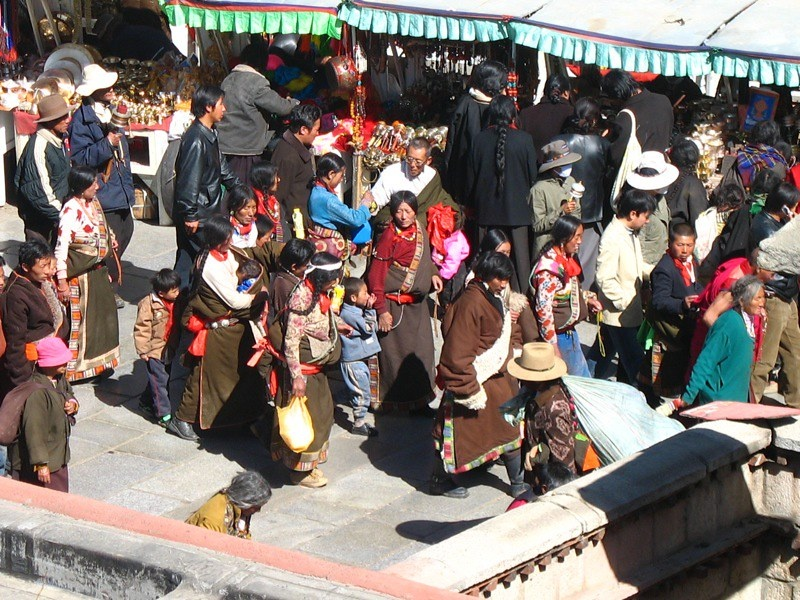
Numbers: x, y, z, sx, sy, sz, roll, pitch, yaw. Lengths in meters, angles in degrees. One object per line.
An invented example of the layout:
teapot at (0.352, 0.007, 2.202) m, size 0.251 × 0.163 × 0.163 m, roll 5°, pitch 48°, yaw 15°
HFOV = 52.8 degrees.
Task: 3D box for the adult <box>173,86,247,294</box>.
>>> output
adult at (-1.851, -1.074, 7.907) m, size 0.796 × 2.562 × 0.825 m, roll 5°, pitch 43°, yaw -5°

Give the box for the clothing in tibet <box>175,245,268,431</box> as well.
clothing in tibet at (-1.519, 0.246, 7.202) m, size 0.558 × 1.489 × 0.738 m, roll -3°, pitch 6°, yaw 19°

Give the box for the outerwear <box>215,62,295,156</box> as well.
outerwear at (-1.772, -2.348, 9.835) m, size 0.949 × 1.054 × 0.836 m, roll -9°, pitch 22°, yaw -38°

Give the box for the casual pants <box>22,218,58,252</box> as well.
casual pants at (-3.445, -0.632, 7.761) m, size 0.196 × 0.256 × 0.342 m, roll -20°, pitch 61°, yaw -45°

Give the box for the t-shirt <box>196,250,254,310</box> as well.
t-shirt at (-1.442, -0.169, 6.768) m, size 0.184 × 0.480 × 0.374 m, roll -15°, pitch 34°, yaw 37°

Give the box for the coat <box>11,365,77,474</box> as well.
coat at (-2.515, 0.838, 5.651) m, size 0.342 × 0.591 × 0.653 m, roll 7°, pitch 19°, yaw 10°

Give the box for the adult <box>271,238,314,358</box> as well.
adult at (-0.885, -0.038, 6.487) m, size 0.302 × 0.780 × 0.579 m, roll 22°, pitch 17°, yaw 2°

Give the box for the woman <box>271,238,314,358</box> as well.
woman at (-0.853, -0.032, 6.497) m, size 0.302 × 0.780 × 0.579 m, roll 22°, pitch 17°, yaw 2°

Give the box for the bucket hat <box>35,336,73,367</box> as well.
bucket hat at (-2.530, 0.377, 5.872) m, size 0.221 × 0.120 × 0.199 m, roll 2°, pitch 40°, yaw 0°

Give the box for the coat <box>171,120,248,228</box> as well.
coat at (-2.026, -1.342, 8.347) m, size 0.511 × 1.100 × 1.083 m, roll 12°, pitch 24°, yaw 8°

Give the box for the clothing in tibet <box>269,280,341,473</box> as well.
clothing in tibet at (-0.774, 0.532, 6.619) m, size 0.510 × 1.908 × 0.708 m, roll 9°, pitch 18°, yaw 10°

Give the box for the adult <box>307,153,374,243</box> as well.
adult at (-0.596, -0.857, 8.252) m, size 0.731 × 1.216 × 0.598 m, roll -1°, pitch 26°, yaw -14°

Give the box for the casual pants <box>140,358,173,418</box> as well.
casual pants at (-2.229, 0.826, 7.417) m, size 0.208 × 0.640 × 0.308 m, roll 0°, pitch 28°, yaw -14°

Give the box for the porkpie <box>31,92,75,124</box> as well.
porkpie at (-3.448, -1.871, 8.021) m, size 0.316 × 0.126 × 0.294 m, roll -12°, pitch 29°, yaw 8°

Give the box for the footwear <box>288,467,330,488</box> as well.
footwear at (-0.756, 1.471, 6.715) m, size 0.272 × 0.132 × 0.155 m, roll 2°, pitch 18°, yaw 5°

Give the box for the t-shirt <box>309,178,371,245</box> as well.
t-shirt at (-0.570, -0.878, 8.224) m, size 0.644 × 0.626 × 0.552 m, roll 1°, pitch 14°, yaw -2°

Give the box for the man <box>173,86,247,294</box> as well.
man at (-1.851, -1.074, 7.907) m, size 0.796 × 2.562 × 0.825 m, roll 5°, pitch 43°, yaw -5°
